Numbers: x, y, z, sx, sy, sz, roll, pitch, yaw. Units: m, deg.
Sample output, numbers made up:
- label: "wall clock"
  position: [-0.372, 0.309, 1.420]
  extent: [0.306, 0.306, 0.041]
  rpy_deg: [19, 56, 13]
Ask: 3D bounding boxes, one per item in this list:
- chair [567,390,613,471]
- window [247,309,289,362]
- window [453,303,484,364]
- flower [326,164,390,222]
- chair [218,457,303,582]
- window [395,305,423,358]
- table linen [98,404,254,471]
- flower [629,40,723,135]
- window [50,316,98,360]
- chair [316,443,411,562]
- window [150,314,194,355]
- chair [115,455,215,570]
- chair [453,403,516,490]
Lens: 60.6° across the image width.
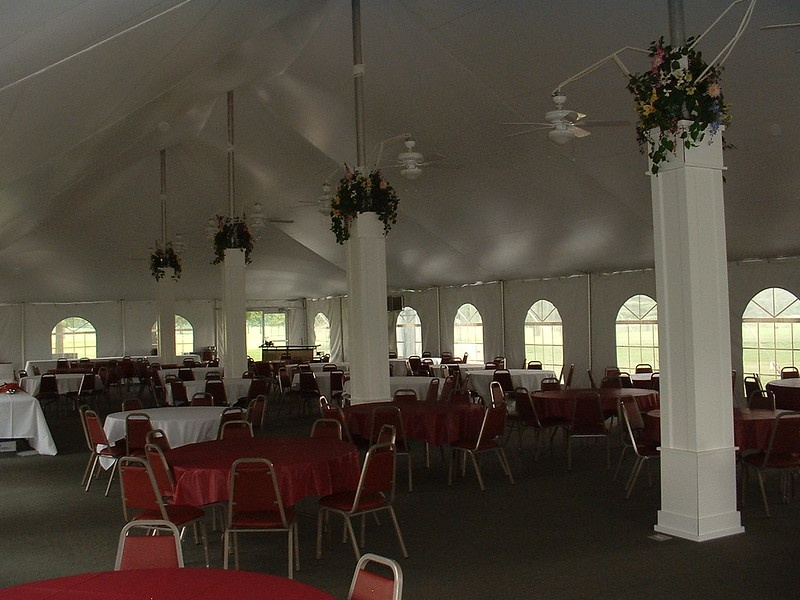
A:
- label: "chair"
  position: [2.611, 1.722, 9.519]
  extent: [0.543, 1.015, 1.634]
  rpy_deg: [0, 4, 14]
- label: "window"
  position: [-4.961, 1.218, 25.981]
  extent: [2.102, 2.263, 0.131]
  rpy_deg: [1, 0, -21]
- label: "window"
  position: [1.971, 0.899, 19.325]
  extent: [0.112, 2.156, 1.606]
  rpy_deg: [-5, 5, -31]
- label: "flower"
  position: [-0.493, -1.430, 9.435]
  extent: [0.765, 0.384, 0.748]
  rpy_deg: [-5, 1, -7]
- label: "chair"
  position: [-1.206, 1.814, 5.899]
  extent: [0.635, 1.079, 0.892]
  rpy_deg: [-2, 4, -9]
- label: "window"
  position: [0.269, 1.042, 22.232]
  extent: [1.179, 1.631, 0.047]
  rpy_deg: [2, -5, -43]
- label: "table linen"
  position: [-2.957, 1.555, 8.636]
  extent: [1.143, 0.417, 1.168]
  rpy_deg: [0, -4, -2]
- label: "flower"
  position: [2.639, -1.991, 6.481]
  extent: [0.862, 0.888, 0.336]
  rpy_deg: [0, 5, 23]
- label: "window"
  position: [-10.854, 1.221, 22.617]
  extent: [1.435, 1.609, 0.057]
  rpy_deg: [0, 0, -27]
- label: "chair"
  position: [-0.351, 1.786, 6.142]
  extent: [0.618, 1.021, 0.649]
  rpy_deg: [5, -6, -43]
- label: "window"
  position: [-7.179, 1.040, 21.415]
  extent: [1.434, 1.496, 0.055]
  rpy_deg: [0, -1, -23]
- label: "chair"
  position: [-2.122, 1.872, 6.087]
  extent: [0.619, 1.052, 0.716]
  rpy_deg: [-5, -7, 39]
- label: "chair"
  position: [1.025, 1.733, 8.788]
  extent: [0.805, 1.073, 1.666]
  rpy_deg: [-1, 4, 5]
